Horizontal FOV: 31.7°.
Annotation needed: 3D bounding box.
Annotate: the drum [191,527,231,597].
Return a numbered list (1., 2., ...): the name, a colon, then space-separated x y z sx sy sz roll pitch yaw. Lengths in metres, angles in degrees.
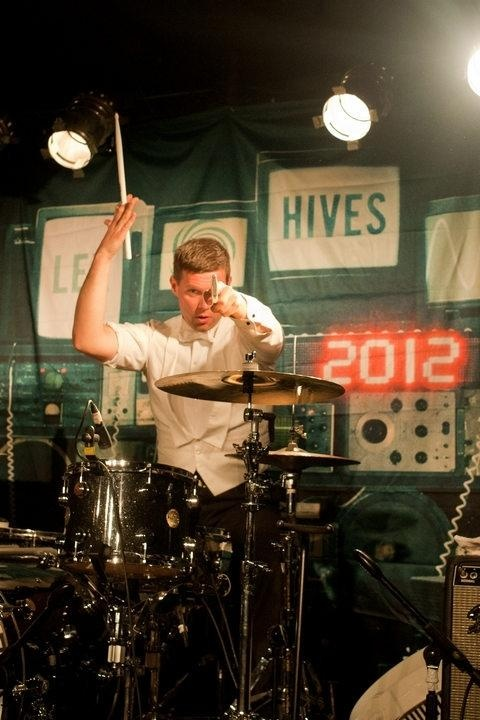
1. drum: -0.102 0.701 2.916 0.125 0.220 0.145 1 -3 -5

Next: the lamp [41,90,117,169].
1. lamp: -0.722 -1.031 3.810 0.295 0.310 0.301 1 -3 -13

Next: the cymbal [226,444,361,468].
1. cymbal: 0.196 0.358 3.108 0.218 0.046 0.209 -6 -24 27

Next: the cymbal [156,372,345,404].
1. cymbal: 0.035 0.099 2.898 0.622 0.112 0.482 1 -2 -20

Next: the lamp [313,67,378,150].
1. lamp: 0.467 -1.071 3.705 0.278 0.300 0.369 1 -3 -7

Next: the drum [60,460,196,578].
1. drum: -0.420 0.579 2.960 0.524 0.343 0.510 0 -22 0
